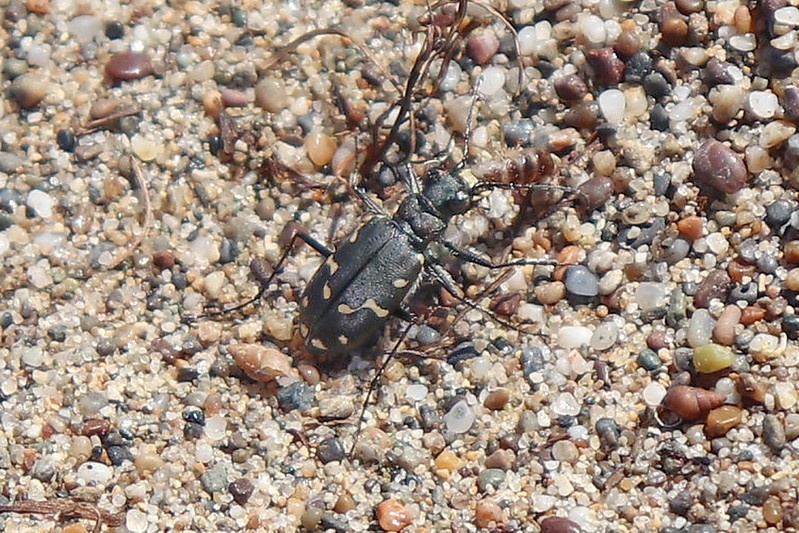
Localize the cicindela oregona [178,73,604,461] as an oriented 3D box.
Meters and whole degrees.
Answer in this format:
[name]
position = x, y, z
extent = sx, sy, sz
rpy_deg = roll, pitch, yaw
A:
[cicindela oregona]
position = -0.118, 0.044, 7.479
extent = 2.040, 0.786, 2.404
rpy_deg = 39, 77, 12
